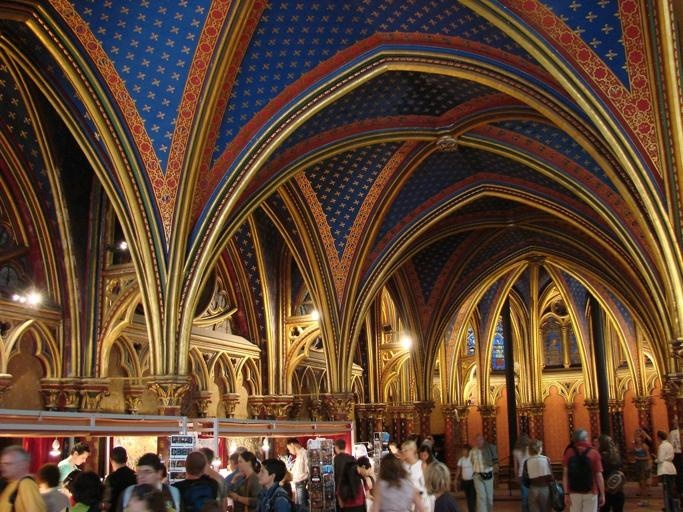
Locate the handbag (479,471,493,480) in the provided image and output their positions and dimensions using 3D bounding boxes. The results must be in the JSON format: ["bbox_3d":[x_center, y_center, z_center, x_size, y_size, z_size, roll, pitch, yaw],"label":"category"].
[{"bbox_3d":[2.288,3.443,10.266,0.156,0.092,0.126,-2,-8,6],"label":"handbag"}]
